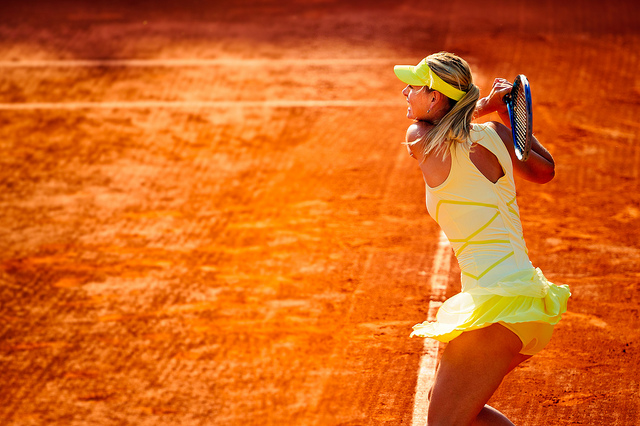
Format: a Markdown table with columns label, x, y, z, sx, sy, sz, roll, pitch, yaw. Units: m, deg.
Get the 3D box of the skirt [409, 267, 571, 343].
| label | x | y | z | sx | sy | sz | roll | pitch | yaw |
| --- | --- | --- | --- | --- | --- | --- | --- | --- | --- |
| skirt | 1.257 | 0.669 | 4.944 | 1.140 | 0.430 | 0.369 | -10 | 49 | -11 |
